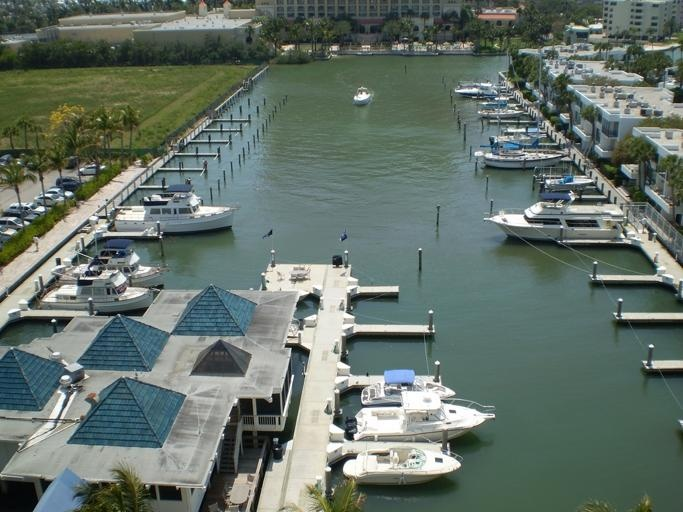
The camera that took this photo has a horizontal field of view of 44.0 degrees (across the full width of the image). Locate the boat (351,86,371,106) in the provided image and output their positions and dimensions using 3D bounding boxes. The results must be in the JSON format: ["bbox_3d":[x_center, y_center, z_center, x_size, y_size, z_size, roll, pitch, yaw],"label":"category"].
[{"bbox_3d":[3.809,-29.285,155.725,1.817,2.323,6.690,1,32,4],"label":"boat"}]
